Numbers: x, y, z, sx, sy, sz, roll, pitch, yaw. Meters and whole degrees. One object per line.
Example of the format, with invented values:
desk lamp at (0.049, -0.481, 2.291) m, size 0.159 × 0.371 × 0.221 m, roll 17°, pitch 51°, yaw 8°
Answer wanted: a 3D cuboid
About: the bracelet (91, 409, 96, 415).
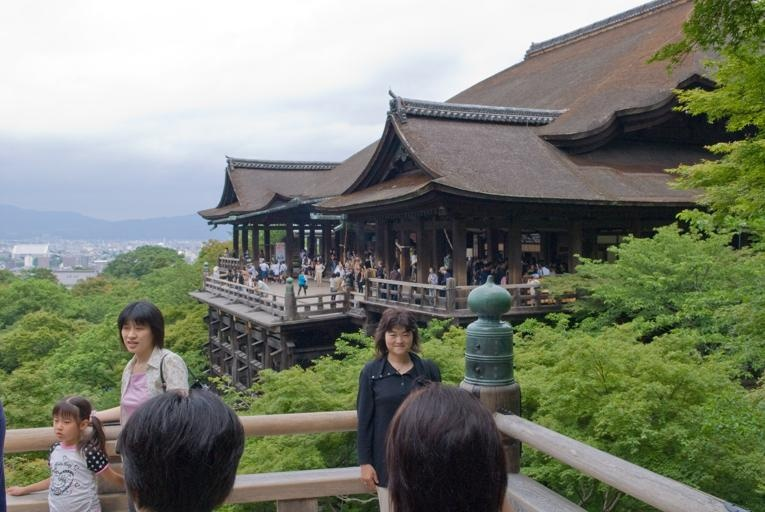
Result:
bracelet at (-2.853, 1.541, 6.571) m, size 0.042 × 0.045 × 0.041 m, roll -2°, pitch 1°, yaw -28°
